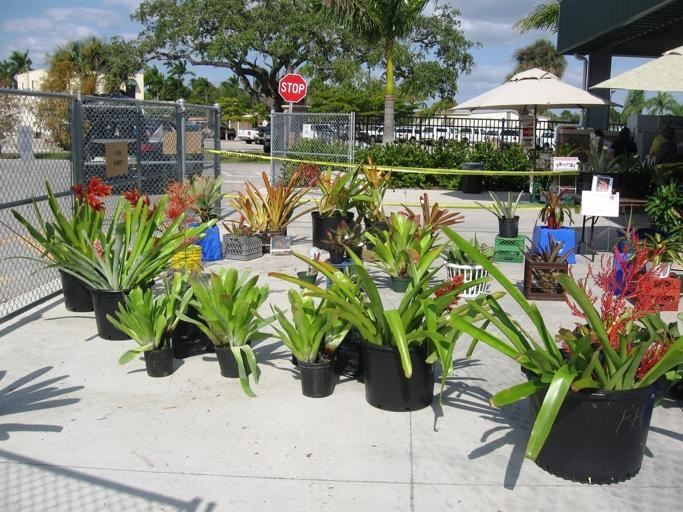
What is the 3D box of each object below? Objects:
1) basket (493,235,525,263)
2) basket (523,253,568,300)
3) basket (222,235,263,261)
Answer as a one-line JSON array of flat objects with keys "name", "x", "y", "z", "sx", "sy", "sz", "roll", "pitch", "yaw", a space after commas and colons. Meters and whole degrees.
[{"name": "basket", "x": 2.361, "y": -0.112, "z": 8.825, "sx": 0.351, "sy": 0.319, "sz": 0.385, "roll": 4, "pitch": 9, "yaw": 16}, {"name": "basket", "x": 2.215, "y": 0.228, "z": 6.818, "sx": 0.374, "sy": 0.433, "sz": 0.414, "roll": 2, "pitch": 10, "yaw": -5}, {"name": "basket", "x": -1.397, "y": -0.139, "z": 8.862, "sx": 0.359, "sy": 0.323, "sz": 0.395, "roll": 2, "pitch": 7, "yaw": 6}]
